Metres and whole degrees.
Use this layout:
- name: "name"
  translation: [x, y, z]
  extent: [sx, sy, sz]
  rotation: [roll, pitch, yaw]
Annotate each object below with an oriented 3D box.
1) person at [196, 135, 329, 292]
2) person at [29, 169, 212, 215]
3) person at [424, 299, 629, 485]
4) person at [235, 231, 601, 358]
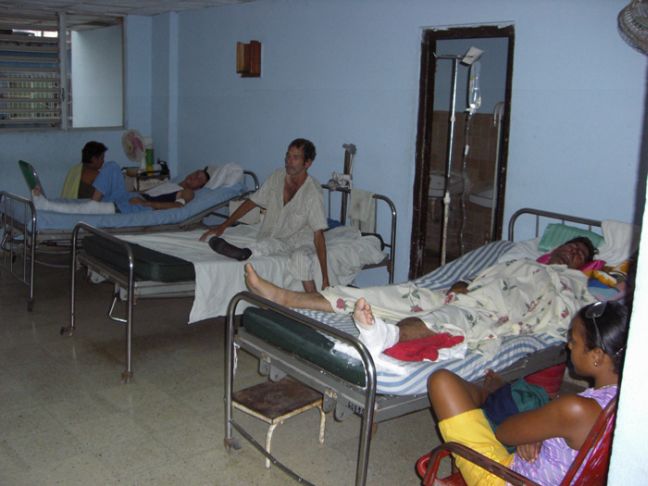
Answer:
- name: "person"
  translation: [-0.551, -0.278, 5.048]
  extent: [1.323, 0.983, 0.772]
  rotation: [29, 40, 23]
- name: "person"
  translation: [-2.236, -0.483, 5.684]
  extent: [1.178, 0.372, 0.683]
  rotation: [-4, 9, -35]
- name: "person"
  translation: [0.875, 0.702, 2.322]
  extent: [0.828, 0.855, 0.526]
  rotation: [1, 14, 11]
- name: "person"
  translation: [0.910, 0.376, 3.421]
  extent: [1.615, 0.423, 0.920]
  rotation: [-8, 8, -37]
